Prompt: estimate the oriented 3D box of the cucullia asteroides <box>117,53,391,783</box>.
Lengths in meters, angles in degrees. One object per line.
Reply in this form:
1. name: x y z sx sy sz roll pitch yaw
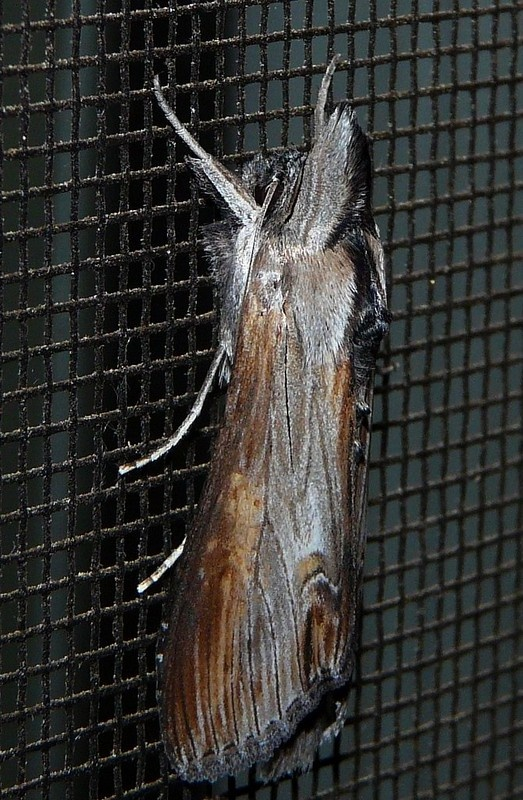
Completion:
1. cucullia asteroides: -0.017 0.031 1.397 0.268 0.267 0.654 7 74 5
